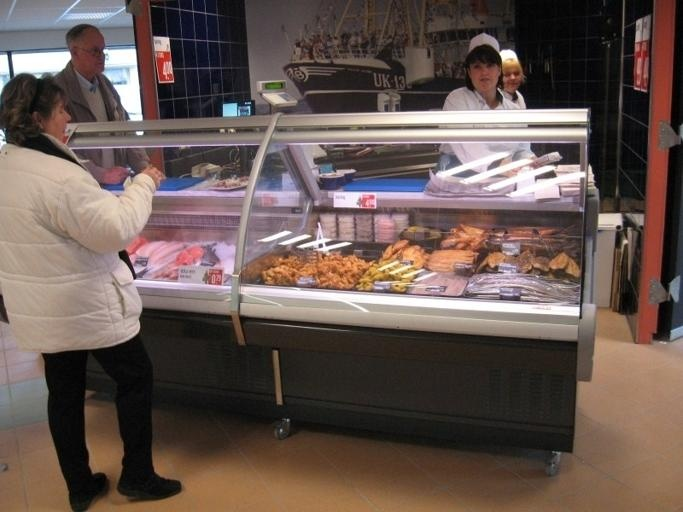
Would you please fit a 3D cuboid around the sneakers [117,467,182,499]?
[{"bbox_3d":[-0.946,1.119,2.754,0.350,0.167,0.135,3,12,-12],"label":"sneakers"}]

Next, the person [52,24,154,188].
[{"bbox_3d":[-1.760,-0.979,3.936,0.623,1.172,0.573,1,30,-20],"label":"person"}]

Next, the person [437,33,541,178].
[{"bbox_3d":[0.965,-0.979,3.552,0.606,0.924,0.857,-3,8,-12],"label":"person"}]

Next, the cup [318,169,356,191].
[{"bbox_3d":[-0.034,-0.432,3.051,0.118,0.062,0.163,8,31,28],"label":"cup"}]
